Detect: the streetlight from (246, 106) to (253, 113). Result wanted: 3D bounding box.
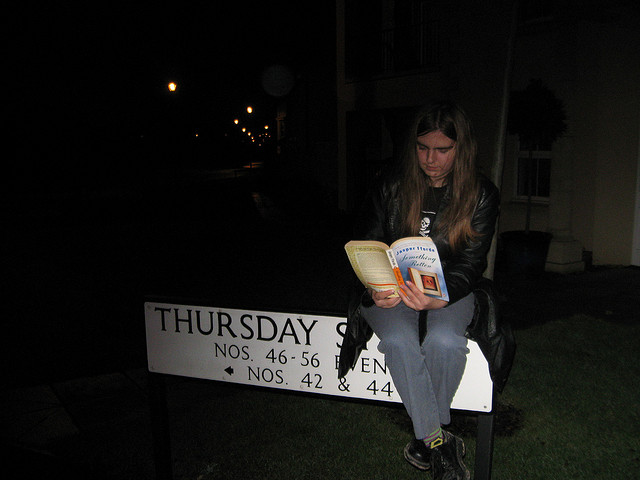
[{"bbox_3d":[-12.499,-23.302,89.140,0.754,0.885,0.846,1,-5,-11],"label":"streetlight"}]

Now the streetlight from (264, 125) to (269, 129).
[{"bbox_3d":[-9.199,-19.392,85.550,0.567,0.682,0.340,0,1,-3],"label":"streetlight"}]

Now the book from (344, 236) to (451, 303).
[{"bbox_3d":[0.462,0.179,3.091,0.566,0.124,0.441,0,51,-4],"label":"book"}]

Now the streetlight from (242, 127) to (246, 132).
[{"bbox_3d":[-14.239,-20.863,93.708,0.747,0.886,0.190,3,6,-12],"label":"streetlight"}]

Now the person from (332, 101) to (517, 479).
[{"bbox_3d":[0.753,0.389,3.450,0.822,2.616,1.193,2,12,23],"label":"person"}]

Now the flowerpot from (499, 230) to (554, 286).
[{"bbox_3d":[3.683,0.158,8.975,0.926,0.878,0.994,5,19,34],"label":"flowerpot"}]

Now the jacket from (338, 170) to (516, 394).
[{"bbox_3d":[0.754,0.240,3.515,1.116,0.887,1.961,3,33,10],"label":"jacket"}]
